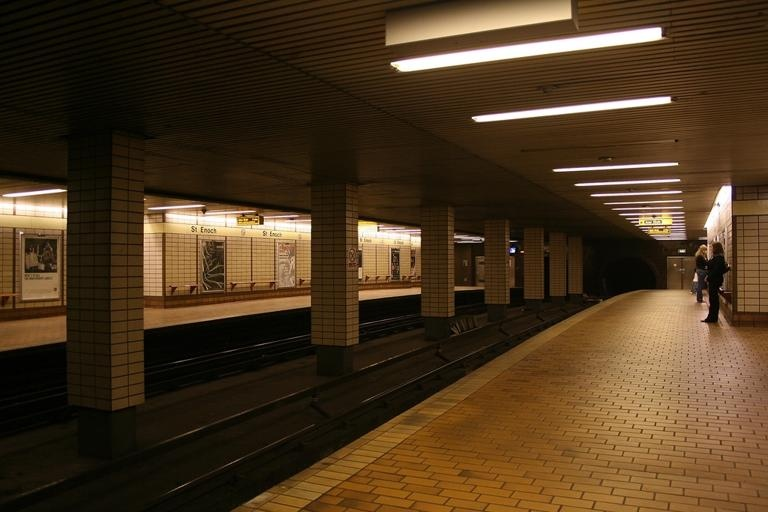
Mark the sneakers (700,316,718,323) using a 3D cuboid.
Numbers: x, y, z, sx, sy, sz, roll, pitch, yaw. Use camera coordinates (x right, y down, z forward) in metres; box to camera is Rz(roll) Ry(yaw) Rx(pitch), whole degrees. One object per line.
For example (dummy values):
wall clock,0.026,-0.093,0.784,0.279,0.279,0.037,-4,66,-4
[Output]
sneakers,8.211,1.603,12.916,0.442,0.127,0.141,2,-3,30
